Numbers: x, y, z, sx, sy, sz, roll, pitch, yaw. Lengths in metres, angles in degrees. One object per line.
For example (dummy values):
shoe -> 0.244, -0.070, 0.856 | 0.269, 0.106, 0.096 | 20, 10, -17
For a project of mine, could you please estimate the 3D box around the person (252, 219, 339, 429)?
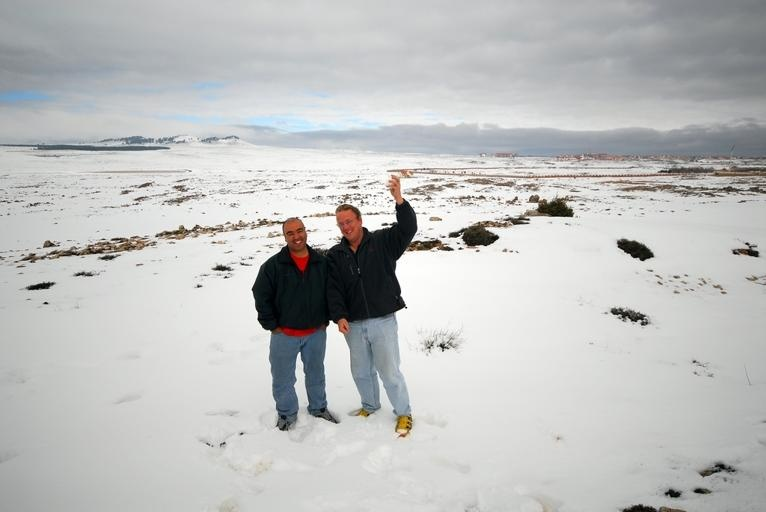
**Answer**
person -> -1.464, 1.125, 7.680 | 1.191, 3.389, 0.949 | -2, 19, -14

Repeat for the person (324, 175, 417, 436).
person -> -0.227, 0.891, 7.629 | 1.498, 3.874, 1.118 | 4, 18, 4

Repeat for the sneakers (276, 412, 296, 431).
sneakers -> -1.624, 2.773, 7.792 | 0.148, 0.173, 0.441 | 3, 27, 10

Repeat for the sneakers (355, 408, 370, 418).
sneakers -> -0.378, 2.701, 8.001 | 0.148, 0.076, 0.199 | 4, -9, -44

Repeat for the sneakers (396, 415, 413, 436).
sneakers -> 0.341, 2.821, 7.728 | 0.190, 0.345, 0.154 | 3, -4, 12

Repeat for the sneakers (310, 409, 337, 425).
sneakers -> -0.980, 2.704, 7.986 | 0.556, 0.224, 0.190 | 6, 4, 12
